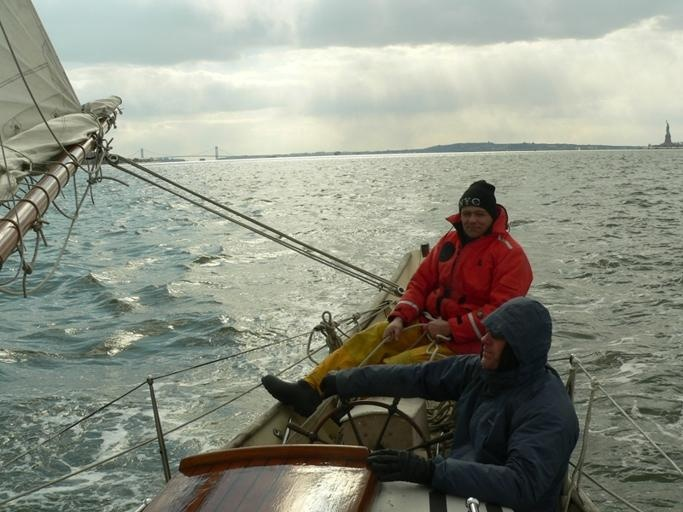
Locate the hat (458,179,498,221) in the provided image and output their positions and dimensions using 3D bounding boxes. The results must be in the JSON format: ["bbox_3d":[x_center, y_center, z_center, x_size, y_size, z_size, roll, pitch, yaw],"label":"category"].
[{"bbox_3d":[0.983,-0.402,3.842,0.272,0.235,0.316,1,0,31],"label":"hat"}]

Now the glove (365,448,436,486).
[{"bbox_3d":[0.279,0.895,2.307,0.308,0.078,0.150,-8,-1,32],"label":"glove"}]
